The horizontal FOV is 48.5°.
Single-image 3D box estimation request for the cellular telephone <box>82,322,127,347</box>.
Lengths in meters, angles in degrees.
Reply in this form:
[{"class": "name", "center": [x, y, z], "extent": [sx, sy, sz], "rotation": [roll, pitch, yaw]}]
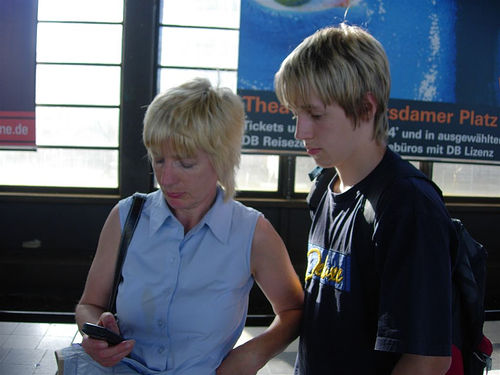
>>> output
[{"class": "cellular telephone", "center": [-0.753, 0.749, 2.819], "extent": [0.176, 0.043, 0.098], "rotation": [40, -34, -23]}]
